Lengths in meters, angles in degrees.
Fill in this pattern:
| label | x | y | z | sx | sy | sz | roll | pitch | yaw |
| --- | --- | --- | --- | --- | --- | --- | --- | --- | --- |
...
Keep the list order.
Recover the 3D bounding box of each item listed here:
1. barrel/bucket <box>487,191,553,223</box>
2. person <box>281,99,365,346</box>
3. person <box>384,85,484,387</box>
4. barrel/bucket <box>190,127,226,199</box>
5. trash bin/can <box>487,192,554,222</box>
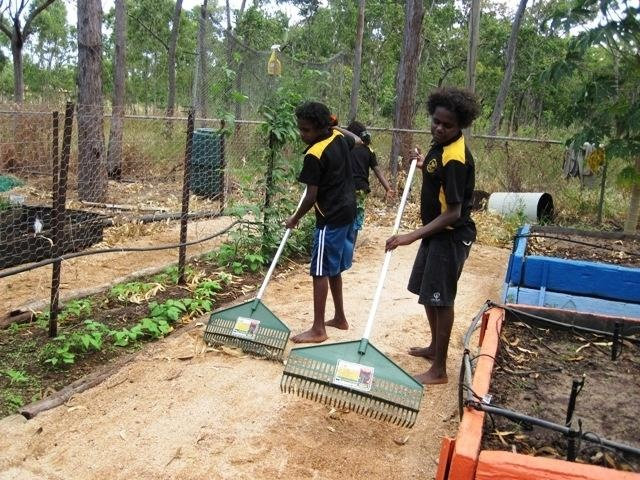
| label | x | y | z | sx | sy | sz | roll | pitch | yaw |
| --- | --- | --- | --- | --- | --- | --- | --- | --- | --- |
| barrel/bucket | 3.625 | -0.607 | 9.639 | 0.743 | 0.445 | 0.758 | 0 | 1 | 0 |
| person | 0.052 | -0.149 | 5.210 | 0.640 | 2.317 | 0.431 | 1 | 11 | -13 |
| person | 0.986 | 0.026 | 4.428 | 0.545 | 2.502 | 0.421 | 7 | 12 | 18 |
| barrel/bucket | -2.369 | -1.544 | 12.000 | 0.866 | 1.499 | 0.877 | 1 | 9 | 0 |
| trash bin/can | 3.609 | -0.630 | 9.659 | 0.744 | 0.446 | 0.759 | -1 | 2 | -23 |
